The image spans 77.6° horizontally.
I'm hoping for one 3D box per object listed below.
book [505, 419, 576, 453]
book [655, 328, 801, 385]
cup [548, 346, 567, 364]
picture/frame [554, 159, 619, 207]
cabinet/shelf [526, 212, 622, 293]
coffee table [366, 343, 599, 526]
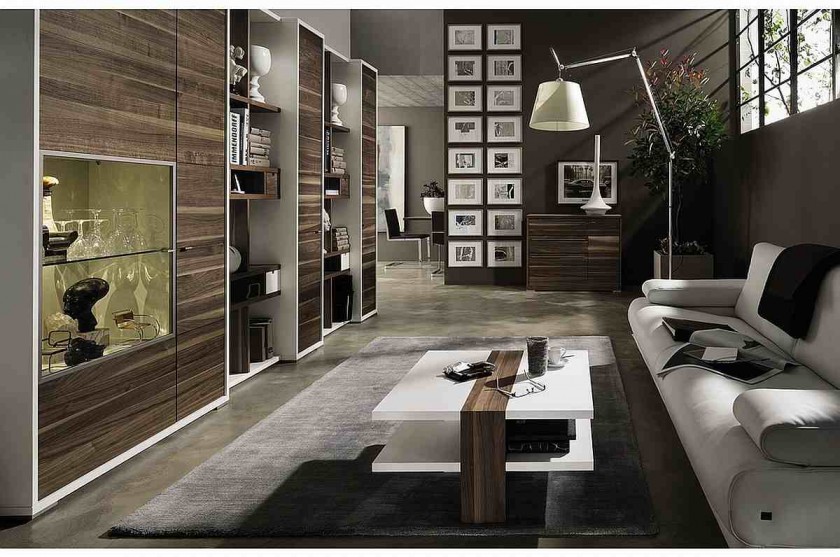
[{"bbox_3d":[0.535,0.703,2.392,0.203,0.042,0.193,-1,2,-1],"label":"book"},{"bbox_3d":[1.725,0.449,2.917,0.415,0.115,0.379,-7,11,-31],"label":"book"},{"bbox_3d":[0.752,0.443,2.924,0.125,0.083,0.076,0,-6,8],"label":"cup"},{"bbox_3d":[2.730,-1.557,8.491,0.951,0.637,0.033,0,5,5],"label":"picture/frame"},{"bbox_3d":[2.387,-0.384,8.116,1.403,1.054,0.512,0,0,4],"label":"cabinet/shelf"},{"bbox_3d":[0.317,0.683,2.466,0.743,0.303,1.000,-1,6,2],"label":"coffee table"}]
